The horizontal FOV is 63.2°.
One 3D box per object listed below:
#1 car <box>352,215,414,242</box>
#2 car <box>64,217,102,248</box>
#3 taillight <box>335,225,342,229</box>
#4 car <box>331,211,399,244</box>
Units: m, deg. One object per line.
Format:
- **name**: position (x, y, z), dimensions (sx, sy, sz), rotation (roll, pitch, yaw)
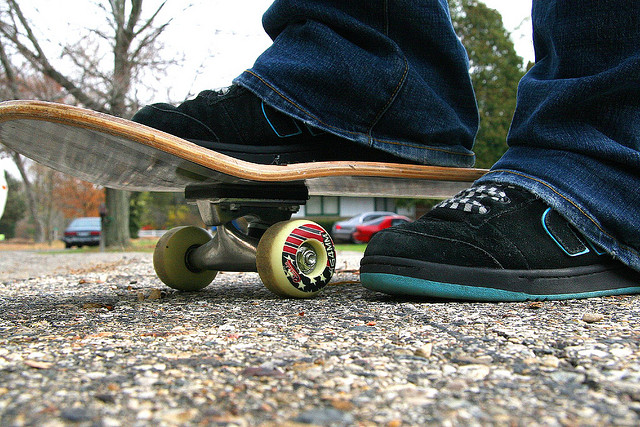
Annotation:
- **car**: position (1.753, 0.333, 14.958), dimensions (1.994, 0.545, 0.826), rotation (-7, 5, -33)
- **car**: position (-6.687, 0.314, 14.957), dimensions (1.032, 0.651, 2.161), rotation (-1, 15, -19)
- **taillight**: position (0.556, 0.406, 15.648), dimensions (0.136, 0.068, 0.208), rotation (10, -7, -9)
- **car**: position (1.543, 0.442, 15.899), dimensions (2.247, 0.590, 0.908), rotation (-2, 3, -16)
